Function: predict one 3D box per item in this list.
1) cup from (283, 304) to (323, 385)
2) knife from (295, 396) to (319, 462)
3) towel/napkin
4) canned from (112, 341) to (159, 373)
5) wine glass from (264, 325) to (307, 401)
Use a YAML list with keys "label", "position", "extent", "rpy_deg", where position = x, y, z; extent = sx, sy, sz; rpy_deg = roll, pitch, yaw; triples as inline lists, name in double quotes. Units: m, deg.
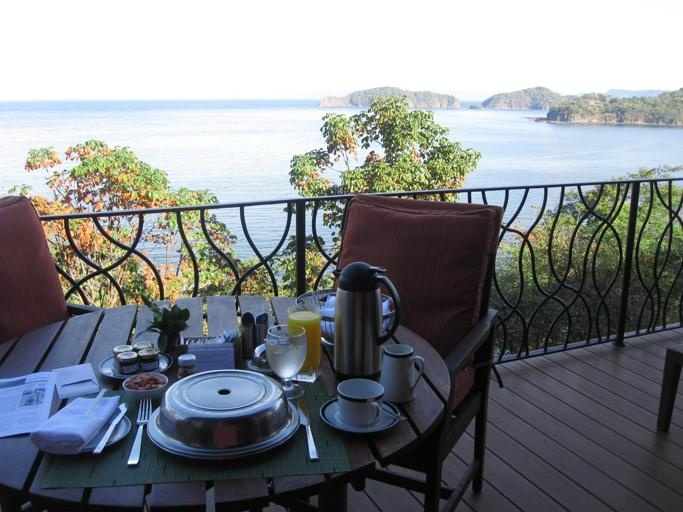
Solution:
- label: "cup"
  position: [-0.101, 0.218, 1.294]
  extent: [0.077, 0.167, 0.082]
  rpy_deg: [4, 17, -1]
- label: "knife"
  position: [-0.066, 0.360, 1.080]
  extent: [0.023, 0.013, 0.174]
  rpy_deg: [-2, 16, -13]
- label: "towel/napkin"
  position: [-0.547, 0.342, 1.080]
  extent: [0.112, 0.046, 0.160]
  rpy_deg: [-1, 17, 12]
- label: "canned"
  position: [-0.520, 0.240, 1.308]
  extent: [0.066, 0.037, 0.089]
  rpy_deg: [0, 12, -9]
- label: "wine glass"
  position: [-0.127, 0.249, 1.197]
  extent: [0.112, 0.200, 0.124]
  rpy_deg: [-3, 12, -7]
